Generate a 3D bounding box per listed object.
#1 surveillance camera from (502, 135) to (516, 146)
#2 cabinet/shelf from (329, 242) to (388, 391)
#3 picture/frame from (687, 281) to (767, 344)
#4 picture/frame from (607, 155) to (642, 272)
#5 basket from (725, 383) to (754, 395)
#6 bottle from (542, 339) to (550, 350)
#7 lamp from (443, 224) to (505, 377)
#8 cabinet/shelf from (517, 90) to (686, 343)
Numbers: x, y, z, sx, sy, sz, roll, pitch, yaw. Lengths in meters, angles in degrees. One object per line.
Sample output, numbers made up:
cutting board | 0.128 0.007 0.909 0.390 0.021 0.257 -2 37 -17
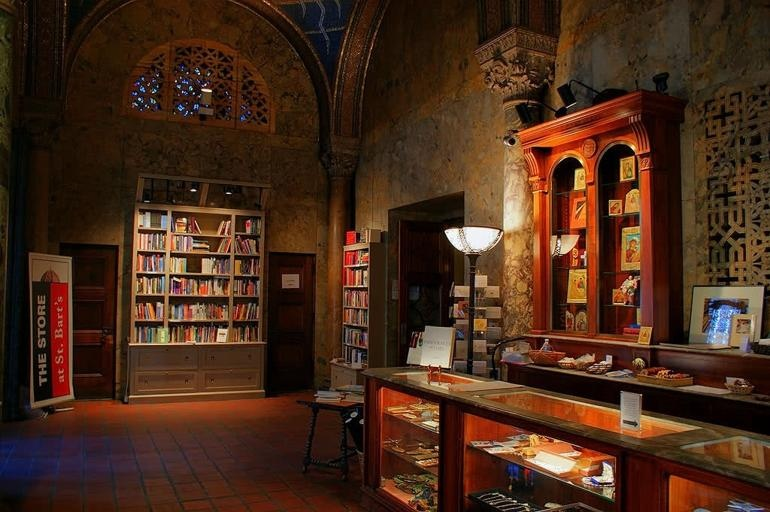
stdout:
surveillance camera | 1.569 -1.430 7.491 0.132 0.136 0.141 -1 1 -5
cabinet/shelf | -0.419 0.856 10.630 0.430 2.161 1.075 5 -7 -37
picture/frame | 3.327 0.573 5.830 0.197 0.570 0.652 5 -8 -36
picture/frame | 2.543 -0.439 6.319 0.080 1.221 0.329 5 -7 -39
basket | 3.183 1.172 5.322 0.117 0.052 0.119 -5 -6 -12
bottle | 1.842 1.021 6.790 0.102 0.151 0.105 -1 -3 0
lamp | 0.984 0.531 6.696 0.558 1.590 1.688 0 -6 7
cabinet/shelf | 2.365 -0.342 6.446 1.592 2.509 0.811 -4 -8 40
